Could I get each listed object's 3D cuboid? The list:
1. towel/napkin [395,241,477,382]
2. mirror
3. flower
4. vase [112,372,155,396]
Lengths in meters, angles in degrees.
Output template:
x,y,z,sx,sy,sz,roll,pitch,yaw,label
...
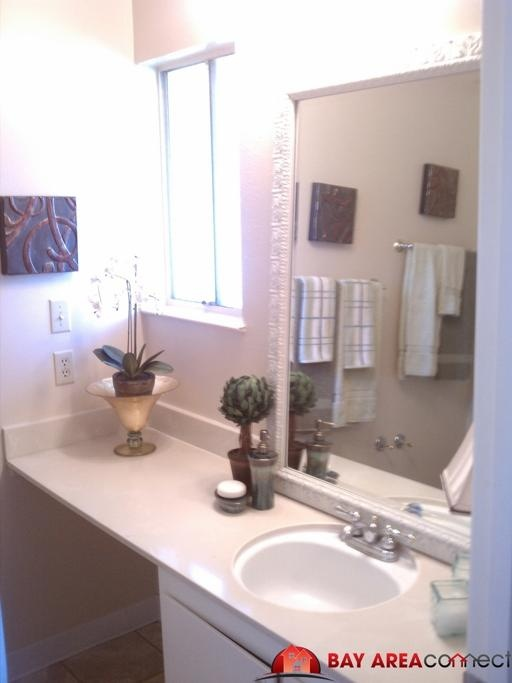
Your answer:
x,y,z,sx,sy,sz,roll,pitch,yaw,label
0.328,-0.061,0.998,0.061,0.214,0.202,0,7,-36,towel/napkin
0.213,-0.078,1.122,0.090,0.971,0.550,-5,10,-33,mirror
-0.400,-0.076,1.690,0.222,0.388,0.376,-2,8,-17,flower
-0.362,0.108,1.556,0.075,0.059,0.077,4,6,30,vase
